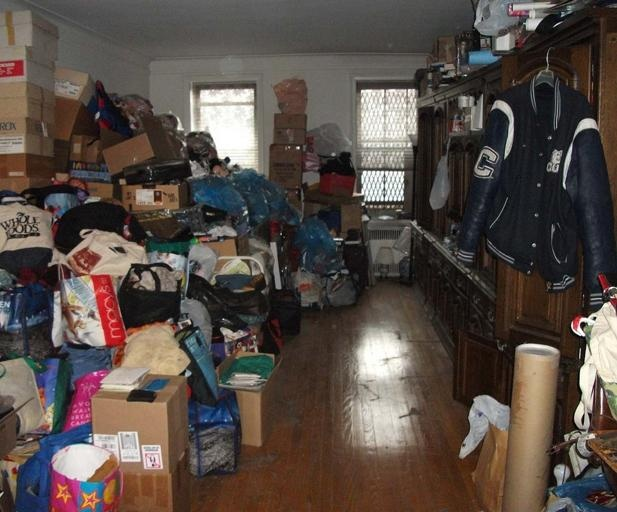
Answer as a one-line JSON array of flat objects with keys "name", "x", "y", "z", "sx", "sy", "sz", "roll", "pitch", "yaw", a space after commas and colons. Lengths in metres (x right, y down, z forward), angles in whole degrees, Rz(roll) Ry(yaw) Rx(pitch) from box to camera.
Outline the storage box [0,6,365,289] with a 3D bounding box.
[{"name": "storage box", "x": -0.731, "y": -1.274, "z": 5.284, "sx": 3.519, "sy": 2.339, "sz": 3.940, "roll": 0, "pitch": 10, "yaw": 14}]

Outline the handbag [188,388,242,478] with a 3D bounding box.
[{"name": "handbag", "x": -0.397, "y": 0.932, "z": 2.639, "sx": 0.361, "sy": 0.408, "sz": 0.271, "roll": 1, "pitch": 10, "yaw": 5}]

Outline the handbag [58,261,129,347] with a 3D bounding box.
[{"name": "handbag", "x": -1.124, "y": 0.247, "z": 2.506, "sx": 0.349, "sy": 0.389, "sz": 0.099, "roll": 3, "pitch": -3, "yaw": -11}]

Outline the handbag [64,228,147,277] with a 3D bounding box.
[{"name": "handbag", "x": -1.175, "y": 0.004, "z": 2.889, "sx": 0.306, "sy": 0.108, "sz": 0.311, "roll": 16, "pitch": 33, "yaw": -18}]

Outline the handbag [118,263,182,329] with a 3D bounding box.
[{"name": "handbag", "x": -0.879, "y": 0.215, "z": 2.804, "sx": 0.370, "sy": 0.399, "sz": 0.292, "roll": 5, "pitch": 19, "yaw": 4}]
